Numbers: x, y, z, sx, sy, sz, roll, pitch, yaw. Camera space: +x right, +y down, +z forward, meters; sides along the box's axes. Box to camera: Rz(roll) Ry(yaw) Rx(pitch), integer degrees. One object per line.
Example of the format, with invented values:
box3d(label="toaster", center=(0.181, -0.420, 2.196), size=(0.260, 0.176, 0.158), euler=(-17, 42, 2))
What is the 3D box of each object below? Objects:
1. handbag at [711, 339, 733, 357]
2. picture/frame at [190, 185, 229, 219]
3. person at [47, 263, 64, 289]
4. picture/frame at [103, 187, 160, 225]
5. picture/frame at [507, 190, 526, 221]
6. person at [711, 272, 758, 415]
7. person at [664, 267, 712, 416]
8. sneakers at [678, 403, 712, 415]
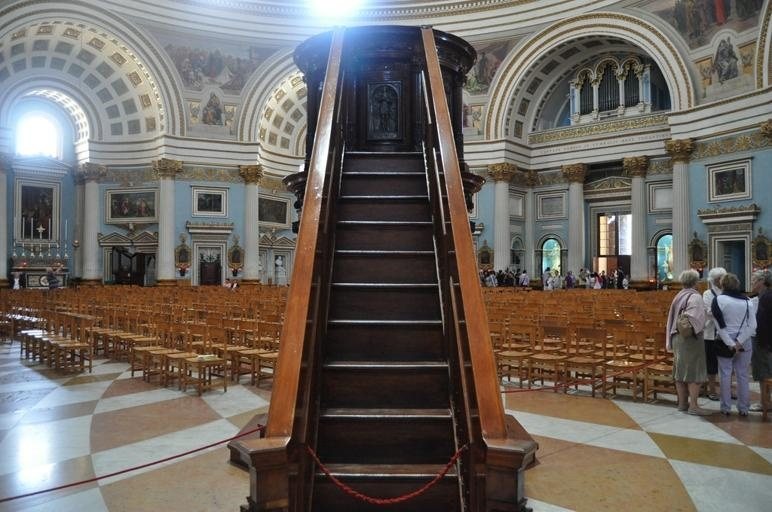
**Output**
box3d(label="handbag", center=(4.954, 1.365, 8.104), size=(0.183, 0.236, 0.254), euler=(-1, -25, 2))
box3d(label="picture/frame", center=(-9.874, -3.098, 30.591), size=(1.846, 1.659, 0.170), euler=(0, -1, -18))
box3d(label="person", center=(-16.636, 1.006, 27.473), size=(0.400, 1.224, 1.246), euler=(-3, 1, 31))
box3d(label="picture/frame", center=(-14.006, -2.765, 30.358), size=(2.196, 1.521, 0.184), euler=(-1, -8, 4))
box3d(label="picture/frame", center=(7.493, -3.013, 31.920), size=(1.884, 1.852, 0.257), euler=(3, -5, -43))
box3d(label="person", center=(5.131, 1.304, 8.114), size=(0.560, 2.059, 0.287), euler=(-1, -1, 23))
box3d(label="person", center=(4.504, 1.266, 8.249), size=(0.520, 2.133, 0.525), euler=(-1, -1, 28))
box3d(label="sneakers", center=(4.560, 2.282, 8.119), size=(0.339, 0.135, 0.192), euler=(-4, -6, 23))
